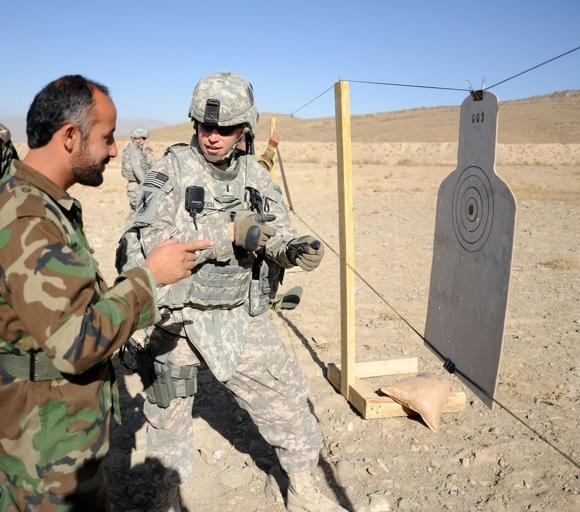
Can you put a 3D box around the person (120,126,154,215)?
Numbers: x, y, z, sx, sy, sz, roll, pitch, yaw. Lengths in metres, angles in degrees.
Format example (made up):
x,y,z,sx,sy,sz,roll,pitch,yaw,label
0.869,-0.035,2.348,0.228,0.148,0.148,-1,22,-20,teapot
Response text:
x,y,z,sx,sy,sz,roll,pitch,yaw,label
-2.410,-1.156,8.541,0.574,1.703,0.695,-2,21,-28,person

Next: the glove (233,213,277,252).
x,y,z,sx,sy,sz,roll,pitch,yaw,label
-0.189,-0.106,2.760,0.224,0.206,0.269,-3,16,-5,glove
